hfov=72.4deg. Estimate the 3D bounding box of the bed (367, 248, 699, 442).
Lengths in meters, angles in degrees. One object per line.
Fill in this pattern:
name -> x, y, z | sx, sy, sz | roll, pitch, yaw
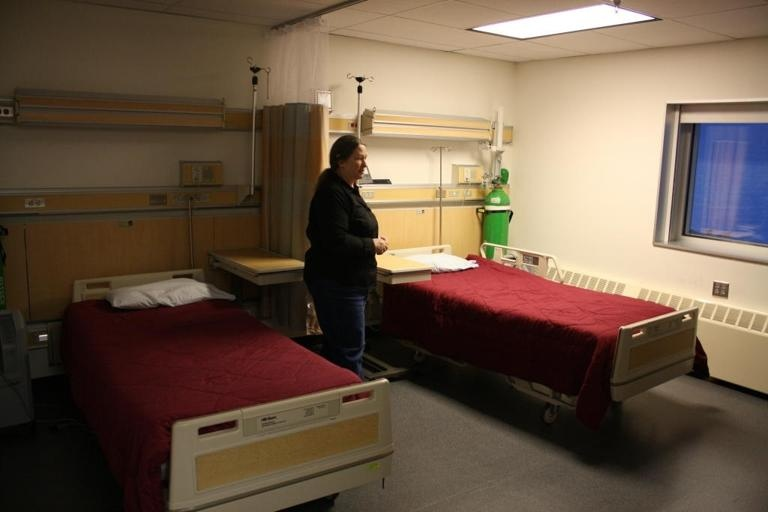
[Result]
bed -> 1.191, 0.594, 4.431 | 1.356, 0.730, 2.172 | -8, 12, -36
